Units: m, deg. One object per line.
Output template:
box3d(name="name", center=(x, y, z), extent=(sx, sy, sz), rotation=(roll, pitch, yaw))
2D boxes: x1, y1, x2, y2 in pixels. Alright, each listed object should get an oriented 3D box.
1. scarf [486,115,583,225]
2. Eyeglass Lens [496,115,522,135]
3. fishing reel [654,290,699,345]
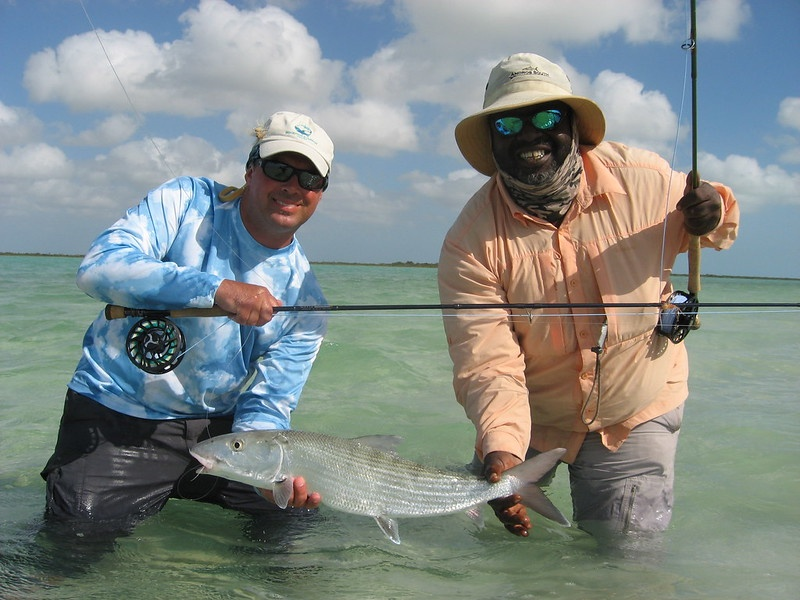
box3d(name="scarf", center=(0.718, -0.761, 4.528), extent=(0.550, 0.632, 0.717), rotation=(-10, -16, 5))
box3d(name="Eyeglass Lens", center=(0.652, -1.045, 4.276), extent=(0.132, 0.063, 0.121), rotation=(-3, -3, 16))
box3d(name="fishing reel", center=(1.678, 0.095, 4.324), extent=(0.195, 0.290, 0.226), rotation=(-13, 38, -25))
